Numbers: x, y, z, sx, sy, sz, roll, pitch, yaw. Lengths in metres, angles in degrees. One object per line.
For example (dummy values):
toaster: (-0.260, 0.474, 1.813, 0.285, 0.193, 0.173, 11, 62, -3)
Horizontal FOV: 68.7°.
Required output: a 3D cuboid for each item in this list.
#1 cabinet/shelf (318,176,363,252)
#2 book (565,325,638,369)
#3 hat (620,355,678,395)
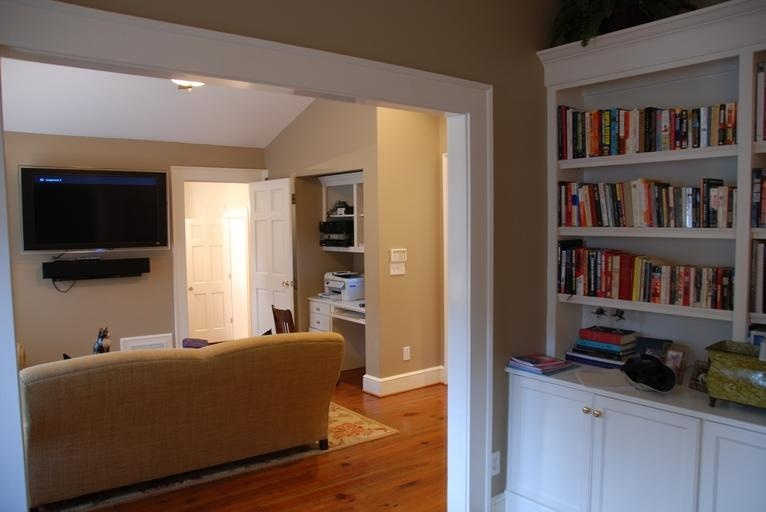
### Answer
cabinet/shelf: (-0.523, -0.494, 6.886, 0.338, 0.894, 0.955, 0, 1, -40)
book: (1.572, 0.662, 4.022, 0.321, 0.151, 0.322, -4, 6, -38)
hat: (1.691, 0.738, 3.561, 0.267, 0.112, 0.240, 11, 21, 36)
